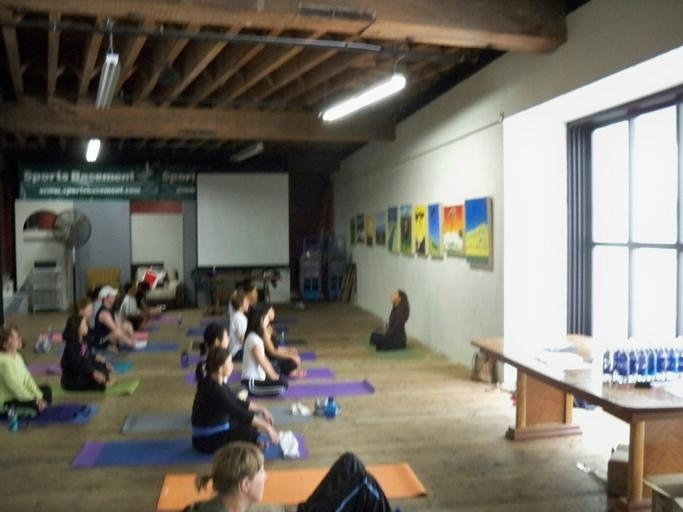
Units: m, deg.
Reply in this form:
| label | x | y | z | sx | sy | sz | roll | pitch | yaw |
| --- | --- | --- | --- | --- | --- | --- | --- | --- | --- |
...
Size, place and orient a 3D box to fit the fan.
| label | x | y | z | sx | sy | sz | roll | pitch | yaw |
| --- | --- | --- | --- | --- | --- | --- | --- | --- | --- |
| fan | -7.038 | 0.247 | 13.921 | 0.857 | 2.686 | 0.477 | -4 | 20 | -32 |

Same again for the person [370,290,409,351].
| label | x | y | z | sx | sy | sz | roll | pitch | yaw |
| --- | --- | --- | --- | --- | --- | --- | --- | --- | --- |
| person | 0.859 | 1.082 | 9.233 | 0.563 | 1.018 | 0.589 | 5 | 0 | -15 |

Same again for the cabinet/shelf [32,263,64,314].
| label | x | y | z | sx | sy | sz | roll | pitch | yaw |
| --- | --- | --- | --- | --- | --- | --- | --- | --- | --- |
| cabinet/shelf | -7.589 | 0.813 | 13.740 | 0.670 | 1.139 | 0.674 | 0 | 5 | -17 |

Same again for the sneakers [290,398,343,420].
| label | x | y | z | sx | sy | sz | roll | pitch | yaw |
| --- | --- | --- | --- | --- | --- | --- | --- | --- | --- |
| sneakers | -0.277 | 1.781 | 6.235 | 0.400 | 0.206 | 0.297 | 0 | 3 | 2 |
